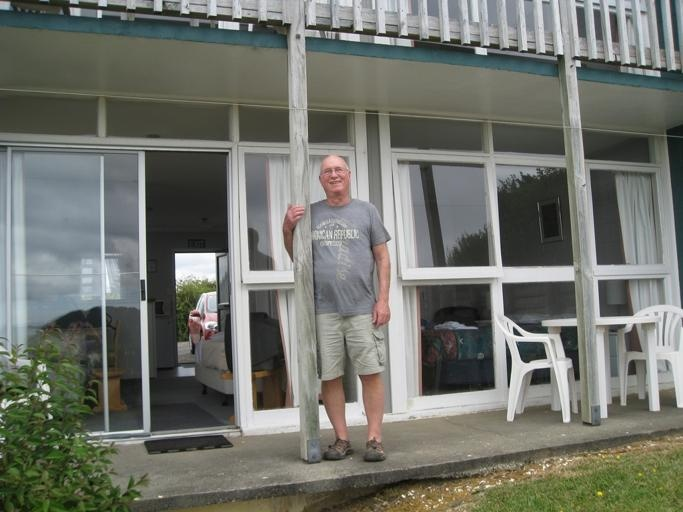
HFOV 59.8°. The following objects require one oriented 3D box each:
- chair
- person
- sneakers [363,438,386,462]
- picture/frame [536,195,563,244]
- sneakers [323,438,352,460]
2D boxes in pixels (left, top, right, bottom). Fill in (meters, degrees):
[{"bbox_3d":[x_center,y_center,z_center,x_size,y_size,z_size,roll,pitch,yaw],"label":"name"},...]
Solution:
[{"bbox_3d":[2.358,0.981,5.536,1.916,0.964,0.937,-3,-5,-13],"label":"chair"},{"bbox_3d":[0.092,0.358,4.298,0.570,2.157,0.274,-4,-5,3],"label":"person"},{"bbox_3d":[0.228,1.346,4.132,0.150,0.148,0.127,-4,-5,2],"label":"sneakers"},{"bbox_3d":[2.232,-0.387,6.348,0.280,0.473,0.055,-2,-5,-19],"label":"picture/frame"},{"bbox_3d":[-0.024,1.371,4.238,0.220,0.124,0.185,-3,-5,-6],"label":"sneakers"}]
